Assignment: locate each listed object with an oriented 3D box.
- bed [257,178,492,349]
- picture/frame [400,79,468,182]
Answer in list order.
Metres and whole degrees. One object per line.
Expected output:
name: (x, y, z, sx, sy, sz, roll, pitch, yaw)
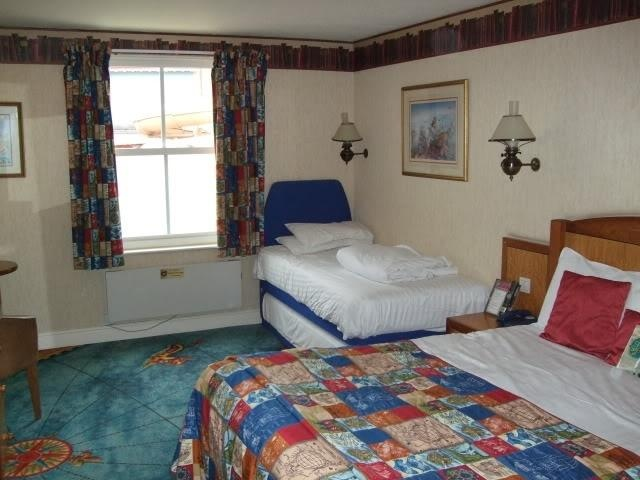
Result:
bed: (0.461, 0.158, 4.900, 1.416, 1.442, 2.293, -4, 8, -26)
picture/frame: (1.099, -1.050, 4.689, 0.044, 0.984, 1.060, -4, 8, -28)
